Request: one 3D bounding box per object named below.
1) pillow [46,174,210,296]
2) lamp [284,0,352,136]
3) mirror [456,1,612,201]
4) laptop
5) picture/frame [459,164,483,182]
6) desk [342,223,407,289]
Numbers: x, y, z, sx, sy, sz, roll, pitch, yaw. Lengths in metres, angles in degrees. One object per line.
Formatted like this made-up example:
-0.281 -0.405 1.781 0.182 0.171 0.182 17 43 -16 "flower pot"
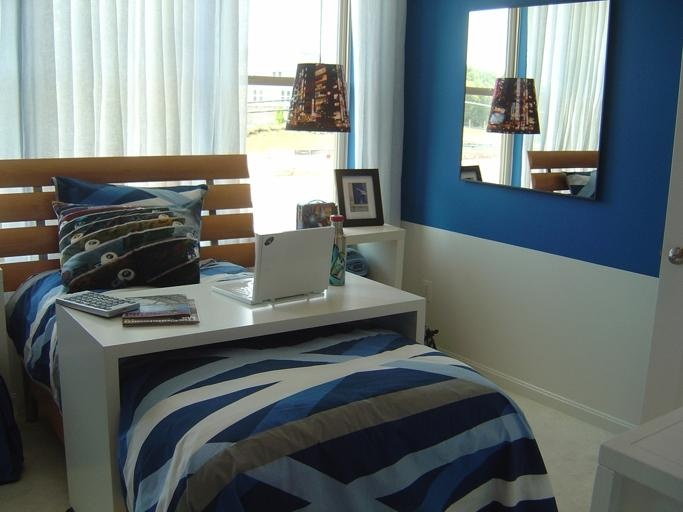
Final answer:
-1.146 -0.099 2.766 0.601 0.507 0.236 -2 -19 -21 "pillow"
-0.141 -0.871 2.890 0.345 0.370 0.165 -3 15 -3 "lamp"
1.208 -0.972 3.263 0.023 1.374 1.165 -12 19 -36 "mirror"
-0.290 0.006 2.233 0.416 0.300 0.426 -6 14 -34 "laptop"
0.903 -0.588 3.724 0.033 0.124 0.125 -11 14 -40 "picture/frame"
0.150 -0.043 3.958 0.405 0.612 0.535 -3 10 -27 "desk"
